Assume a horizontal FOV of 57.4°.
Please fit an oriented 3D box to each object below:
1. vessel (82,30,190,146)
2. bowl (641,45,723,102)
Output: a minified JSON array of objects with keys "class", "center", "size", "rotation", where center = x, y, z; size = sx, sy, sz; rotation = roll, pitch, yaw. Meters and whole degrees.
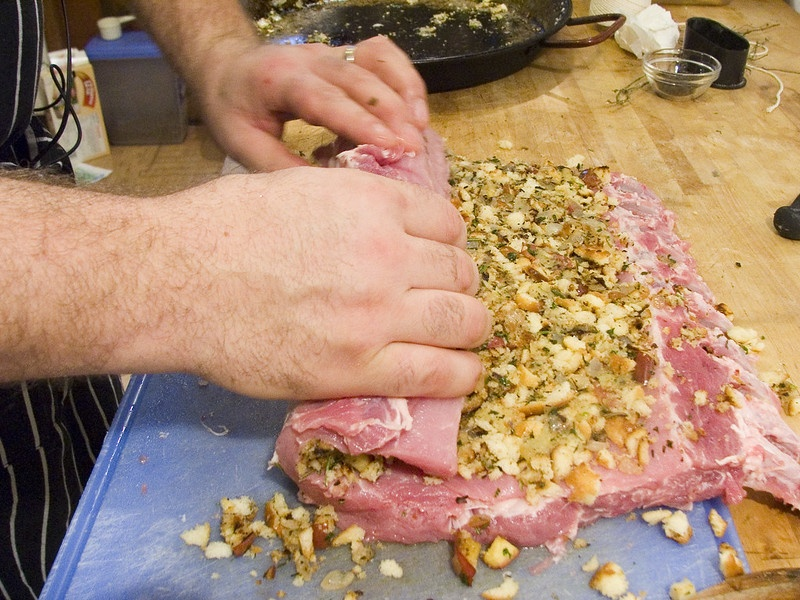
[{"class":"vessel","center":[-0.820,-0.716,2.622],"size":[0.462,0.296,0.457],"rotation":[0,14,7]},{"class":"bowl","center":[0.899,-0.682,2.296],"size":[0.164,0.075,0.172],"rotation":[17,1,0]}]
